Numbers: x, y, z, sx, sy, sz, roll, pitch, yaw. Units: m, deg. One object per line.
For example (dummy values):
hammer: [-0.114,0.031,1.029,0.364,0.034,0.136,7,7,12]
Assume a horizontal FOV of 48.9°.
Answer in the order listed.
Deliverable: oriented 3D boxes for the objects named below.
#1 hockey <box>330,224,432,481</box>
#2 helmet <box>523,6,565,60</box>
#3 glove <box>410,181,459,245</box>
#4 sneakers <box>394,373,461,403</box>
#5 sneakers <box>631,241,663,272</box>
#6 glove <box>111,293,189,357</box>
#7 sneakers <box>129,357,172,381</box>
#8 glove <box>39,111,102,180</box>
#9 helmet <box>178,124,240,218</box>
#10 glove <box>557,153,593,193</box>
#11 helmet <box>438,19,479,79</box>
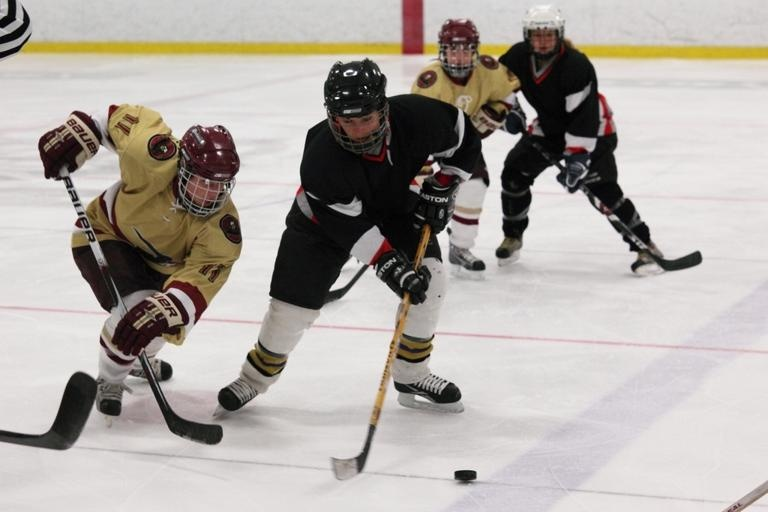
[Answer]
hockey: [0.098,0.314,3.504,0.234,0.146,1.248,21,71,6]
helmet: [0.873,-1.217,4.589,0.252,0.265,0.290,-1,24,9]
glove: [0.217,-0.187,3.576,0.138,0.119,0.263,13,48,17]
sneakers: [0.152,0.567,3.681,0.356,0.134,0.106,-2,41,12]
sneakers: [1.502,0.036,4.787,0.153,0.126,0.100,10,24,21]
glove: [-0.928,0.294,3.454,0.307,0.121,0.224,-29,64,1]
sneakers: [-1.013,0.506,3.779,0.251,0.071,0.102,-6,11,-16]
glove: [-1.324,-0.453,3.613,0.140,0.302,0.234,21,40,-50]
helmet: [-0.708,-0.346,3.429,0.232,0.330,0.176,-1,23,-5]
glove: [1.080,-0.466,4.798,0.157,0.239,0.098,35,2,12]
helmet: [0.404,-1.098,4.510,0.256,0.300,0.313,-1,28,2]
